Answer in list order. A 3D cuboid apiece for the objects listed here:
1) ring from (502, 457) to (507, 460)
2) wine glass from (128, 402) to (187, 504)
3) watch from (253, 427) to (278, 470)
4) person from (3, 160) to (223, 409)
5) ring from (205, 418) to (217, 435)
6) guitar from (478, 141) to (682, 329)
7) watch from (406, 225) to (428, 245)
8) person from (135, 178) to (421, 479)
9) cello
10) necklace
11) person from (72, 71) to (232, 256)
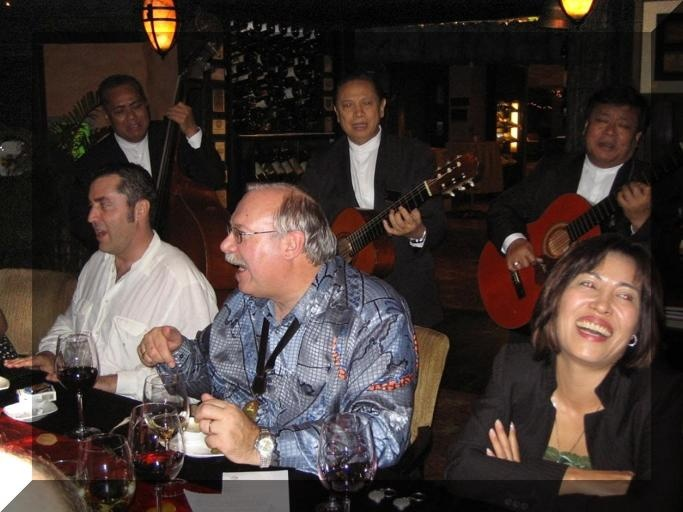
[{"bbox_3d":[0.488,0.607,1.821,0.018,0.007,0.026,0,-3,9],"label":"ring"},{"bbox_3d":[-0.479,0.510,1.565,0.133,0.208,0.278,-3,9,-20],"label":"wine glass"},{"bbox_3d":[-0.210,0.535,1.675,0.055,0.092,0.078,3,-10,-5],"label":"watch"},{"bbox_3d":[-1.108,0.115,3.019,1.026,1.284,0.929,8,3,43],"label":"person"},{"bbox_3d":[-0.350,0.457,1.617,0.008,0.031,0.024,10,-9,-40],"label":"ring"},{"bbox_3d":[1.200,-0.095,3.294,1.376,0.529,0.190,-40,-26,32],"label":"guitar"},{"bbox_3d":[0.416,-0.116,3.317,0.079,0.056,0.108,-13,7,9],"label":"watch"},{"bbox_3d":[-0.266,0.273,2.381,0.835,1.446,1.058,3,1,-28],"label":"person"},{"bbox_3d":[-0.910,-0.526,4.188,0.750,1.536,0.447,0,8,30],"label":"cello"},{"bbox_3d":[0.731,0.541,1.885,0.120,0.225,0.054,6,9,27],"label":"necklace"},{"bbox_3d":[-1.228,-0.870,4.235,1.175,0.356,0.636,-20,13,45],"label":"person"}]
